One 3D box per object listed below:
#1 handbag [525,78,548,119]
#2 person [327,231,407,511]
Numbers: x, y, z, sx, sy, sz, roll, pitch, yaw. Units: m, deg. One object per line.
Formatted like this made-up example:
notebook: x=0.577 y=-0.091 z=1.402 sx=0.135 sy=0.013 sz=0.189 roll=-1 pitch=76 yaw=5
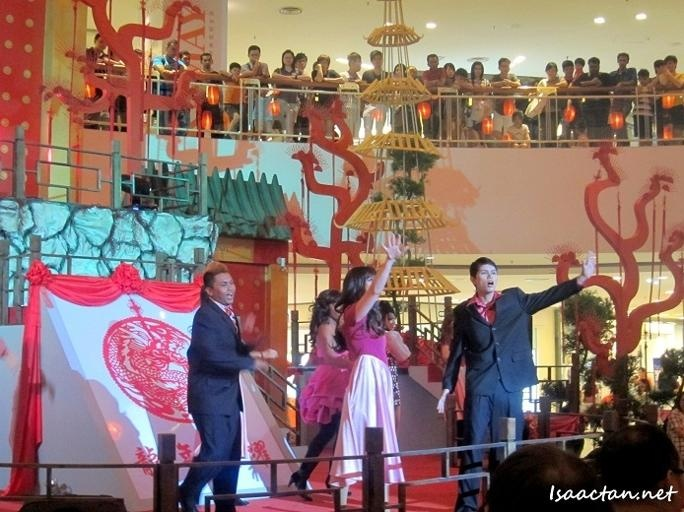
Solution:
handbag: x=2.792 y=-2.198 z=17.654 sx=0.181 sy=0.573 sz=0.402 roll=24 pitch=10 yaw=-9
person: x=0.217 y=0.984 z=10.521 sx=0.625 sy=2.315 sz=0.846 roll=1 pitch=-1 yaw=-6
